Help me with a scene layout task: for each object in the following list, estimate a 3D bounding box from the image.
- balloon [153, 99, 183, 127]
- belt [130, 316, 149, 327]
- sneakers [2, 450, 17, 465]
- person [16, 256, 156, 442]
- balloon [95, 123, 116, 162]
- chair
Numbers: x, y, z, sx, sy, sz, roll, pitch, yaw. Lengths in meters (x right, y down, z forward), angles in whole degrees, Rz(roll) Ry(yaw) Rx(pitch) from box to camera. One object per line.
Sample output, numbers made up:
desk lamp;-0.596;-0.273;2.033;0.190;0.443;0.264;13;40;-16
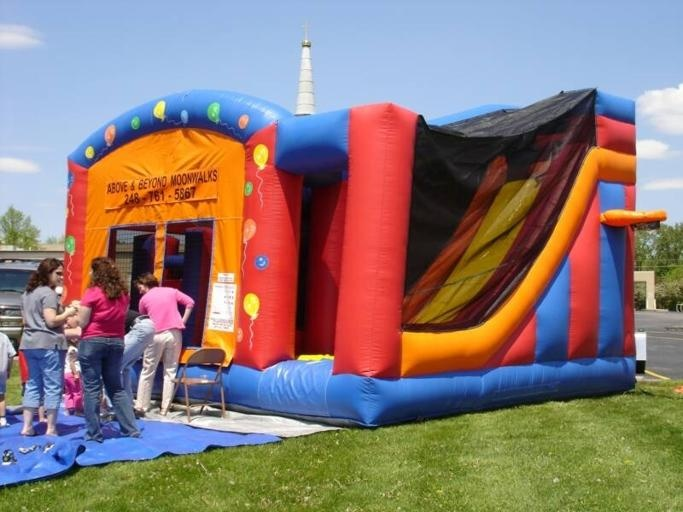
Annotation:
balloon;-2.472;-2.042;11.025;0.438;0.352;0.167;8;-2;37
belt;-2.408;0.761;9.306;0.173;0.134;0.171;-7;-3;-29
sneakers;-3.175;1.915;7.435;0.094;0.136;0.142;10;13;9
person;-2.787;0.963;8.286;1.206;1.895;0.465;2;4;8
balloon;-3.547;-1.709;11.766;0.285;0.551;0.176;45;27;25
chair;-1.734;1.554;9.519;0.668;0.883;0.644;7;-10;-37
